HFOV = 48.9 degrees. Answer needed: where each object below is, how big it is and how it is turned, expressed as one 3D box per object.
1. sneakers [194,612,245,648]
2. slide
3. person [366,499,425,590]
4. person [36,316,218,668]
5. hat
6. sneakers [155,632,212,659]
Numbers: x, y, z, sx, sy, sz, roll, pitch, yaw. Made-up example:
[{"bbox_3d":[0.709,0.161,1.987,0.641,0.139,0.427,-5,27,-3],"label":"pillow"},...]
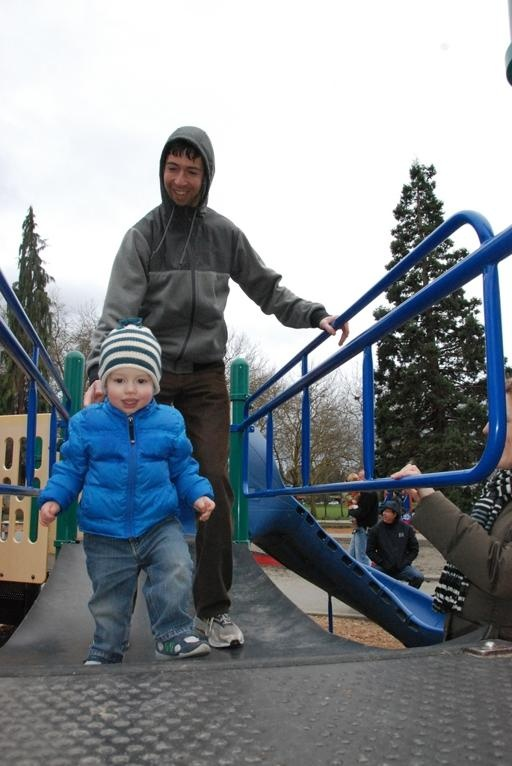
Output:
[{"bbox_3d":[-0.144,0.943,2.196,0.104,0.112,0.236,11,-15,-34],"label":"sneakers"},{"bbox_3d":[0.506,1.030,3.982,1.944,1.289,0.517,15,3,-9],"label":"slide"},{"bbox_3d":[1.613,1.897,6.686,0.630,0.989,0.564,0,-8,-3],"label":"person"},{"bbox_3d":[-0.345,0.291,1.669,0.495,0.993,0.327,3,-6,-19],"label":"person"},{"bbox_3d":[-0.390,-0.090,1.841,0.164,0.225,0.224,2,-8,-9],"label":"hat"},{"bbox_3d":[-0.201,0.717,1.550,0.163,0.080,0.061,-12,-22,26],"label":"sneakers"}]
